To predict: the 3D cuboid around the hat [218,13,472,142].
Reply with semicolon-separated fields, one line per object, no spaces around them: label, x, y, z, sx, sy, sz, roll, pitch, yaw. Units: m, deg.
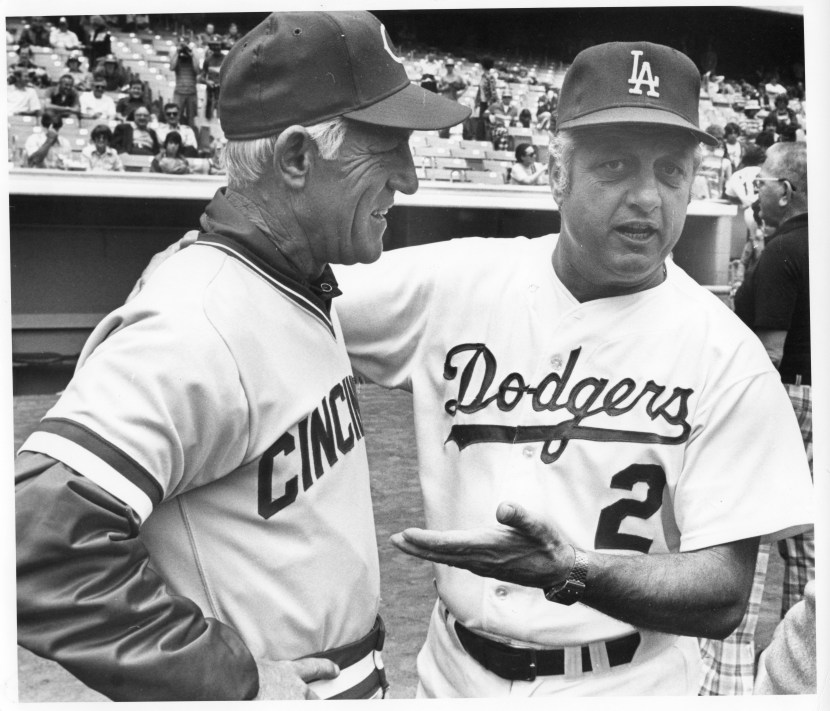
hat;-0.244;-0.844;4.343;0.584;0.307;0.387;-3;14;-6
